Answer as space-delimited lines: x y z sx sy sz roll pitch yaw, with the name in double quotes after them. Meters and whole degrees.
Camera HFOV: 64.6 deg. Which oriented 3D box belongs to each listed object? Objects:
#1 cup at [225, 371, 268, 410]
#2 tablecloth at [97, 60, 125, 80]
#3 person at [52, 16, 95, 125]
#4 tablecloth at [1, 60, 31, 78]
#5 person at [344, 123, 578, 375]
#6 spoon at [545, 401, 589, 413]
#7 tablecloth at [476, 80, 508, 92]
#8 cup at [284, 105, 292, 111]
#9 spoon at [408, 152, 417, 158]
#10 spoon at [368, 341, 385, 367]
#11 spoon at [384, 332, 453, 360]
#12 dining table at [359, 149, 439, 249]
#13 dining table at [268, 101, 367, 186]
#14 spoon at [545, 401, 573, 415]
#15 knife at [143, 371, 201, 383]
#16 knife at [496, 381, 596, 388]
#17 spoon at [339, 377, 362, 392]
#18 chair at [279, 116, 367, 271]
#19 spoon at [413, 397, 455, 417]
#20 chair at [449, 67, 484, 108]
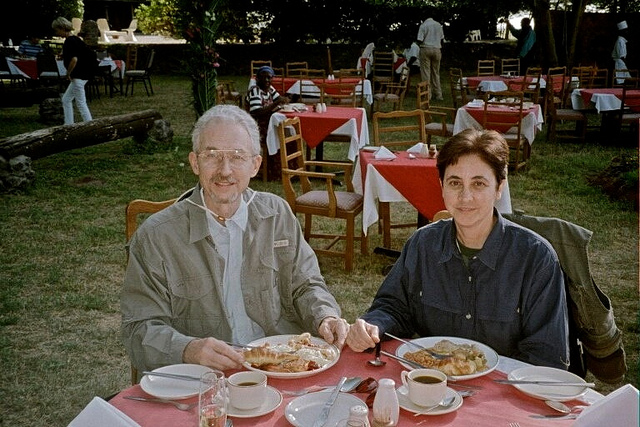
-0.330 0.805 2.313 0.184 0.133 0.137 0 12 -8 "cup"
-6.928 -4.762 16.792 0.584 0.329 0.603 1 14 -3 "tablecloth"
-5.055 -2.969 10.480 0.707 2.210 1.382 -5 13 -26 "person"
-8.878 -4.213 14.666 0.938 0.438 0.304 6 13 25 "tablecloth"
0.829 0.412 2.908 1.141 1.685 0.959 2 12 24 "person"
1.116 0.882 2.296 0.168 0.030 0.049 3 11 8 "spoon"
4.225 -3.133 12.388 0.691 0.249 0.442 5 12 17 "tablecloth"
-0.556 -1.843 8.826 0.114 0.076 0.114 1 13 0 "cup"
1.108 -0.702 6.106 0.086 0.112 0.081 12 16 36 "spoon"
0.291 0.729 2.620 0.096 0.116 0.096 1 6 -10 "spoon"
0.522 0.707 2.671 0.043 0.059 0.534 -5 9 -40 "spoon"
0.928 -0.163 6.340 1.100 1.193 1.177 1 13 -1 "dining table"
-0.137 -1.447 8.660 1.596 1.304 1.649 6 20 14 "dining table"
1.090 0.881 2.306 0.106 0.031 0.051 8 13 30 "spoon"
-0.706 0.783 2.413 0.280 0.032 0.014 12 29 4 "knife"
1.054 0.806 2.377 0.422 0.021 0.051 0 24 6 "knife"
0.149 0.820 2.417 0.138 0.026 0.037 -18 47 -38 "spoon"
0.098 -0.222 6.285 1.220 1.766 1.162 -4 16 -20 "chair"
0.504 0.872 2.265 0.131 0.021 0.030 -24 15 -18 "spoon"
3.752 -3.082 12.831 0.771 1.256 0.906 -5 21 4 "chair"
